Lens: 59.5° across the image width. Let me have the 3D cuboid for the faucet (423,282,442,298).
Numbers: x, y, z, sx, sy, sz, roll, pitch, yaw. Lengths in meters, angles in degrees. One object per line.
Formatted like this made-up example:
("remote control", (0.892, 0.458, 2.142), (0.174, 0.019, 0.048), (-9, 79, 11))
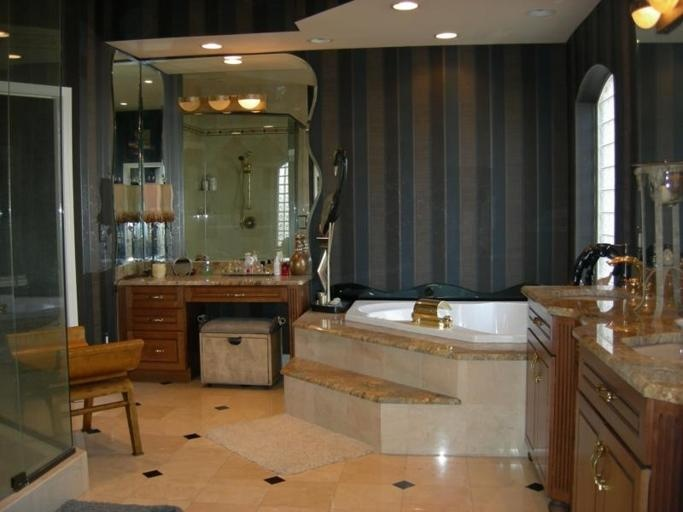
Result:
("faucet", (0.835, 0.313, 5.427), (0.142, 0.113, 0.117), (1, 1, -13))

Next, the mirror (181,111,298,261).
("mirror", (-0.928, -0.713, 5.706), (1.318, 1.819, 0.127), (0, 3, 3))

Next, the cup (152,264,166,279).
("cup", (-1.694, 0.140, 5.544), (0.098, 0.135, 0.150), (0, -3, 30))

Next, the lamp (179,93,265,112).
("lamp", (-1.139, -1.439, 5.702), (0.850, 0.170, 0.060), (0, 9, 8))

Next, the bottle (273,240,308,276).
("bottle", (-0.436, 0.036, 5.548), (0.397, 0.406, 0.227), (-1, 0, 14))

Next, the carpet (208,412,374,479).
("carpet", (-0.376, 1.275, 4.081), (1.087, 0.024, 0.646), (7, 12, 41))

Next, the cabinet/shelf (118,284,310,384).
("cabinet/shelf", (-1.180, 0.631, 5.505), (1.553, 0.943, 0.496), (0, 11, -5))

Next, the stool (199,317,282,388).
("stool", (-0.887, 0.844, 5.272), (0.616, 0.578, 0.363), (0, 4, 6))

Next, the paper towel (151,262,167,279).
("paper towel", (-1.686, 0.147, 5.552), (0.100, 0.120, 0.163), (0, -1, 14))

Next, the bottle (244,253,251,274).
("bottle", (-0.892, 0.067, 5.704), (0.074, 0.172, 0.100), (-3, 9, -10))
